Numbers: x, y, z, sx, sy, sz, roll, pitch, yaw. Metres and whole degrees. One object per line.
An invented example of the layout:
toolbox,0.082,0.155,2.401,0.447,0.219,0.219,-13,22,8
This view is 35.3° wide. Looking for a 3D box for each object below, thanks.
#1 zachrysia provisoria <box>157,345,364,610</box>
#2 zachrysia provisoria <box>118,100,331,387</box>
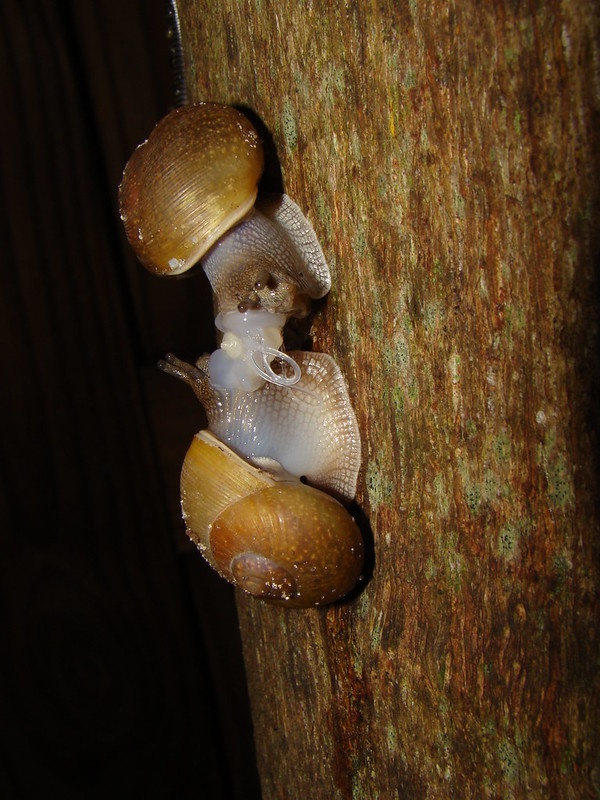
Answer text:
zachrysia provisoria,-0.027,0.067,0.837,0.168,0.287,0.092,-15,-23,5
zachrysia provisoria,-0.047,-0.137,0.875,0.159,0.282,0.105,-13,9,25
